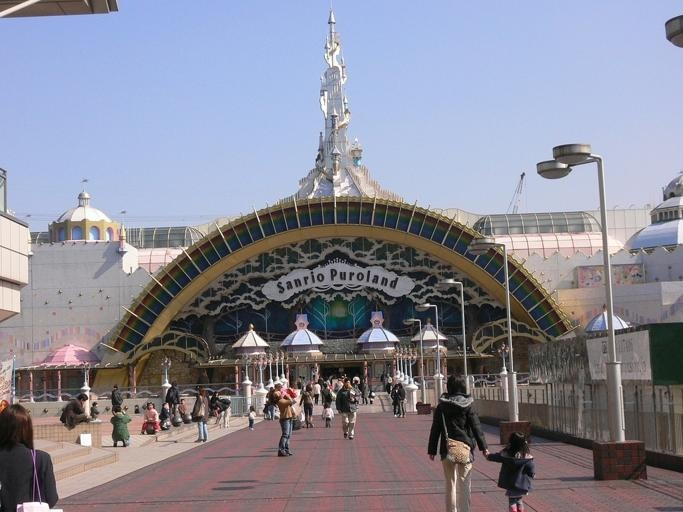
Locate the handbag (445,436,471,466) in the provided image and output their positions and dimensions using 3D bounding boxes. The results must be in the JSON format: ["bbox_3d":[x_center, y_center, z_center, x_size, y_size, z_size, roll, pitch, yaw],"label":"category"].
[{"bbox_3d":[2.221,3.772,16.136,0.474,0.495,0.263,-3,-14,1],"label":"handbag"}]
